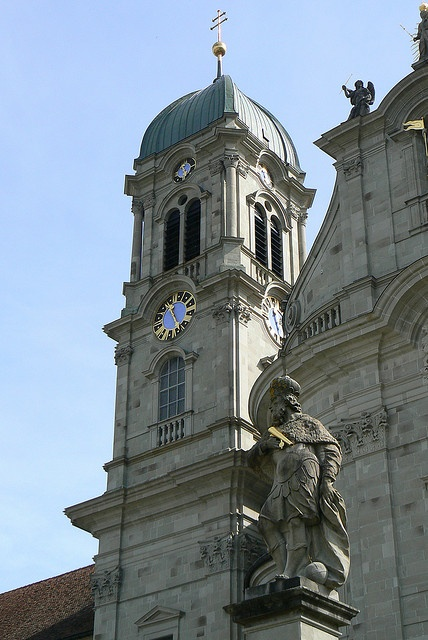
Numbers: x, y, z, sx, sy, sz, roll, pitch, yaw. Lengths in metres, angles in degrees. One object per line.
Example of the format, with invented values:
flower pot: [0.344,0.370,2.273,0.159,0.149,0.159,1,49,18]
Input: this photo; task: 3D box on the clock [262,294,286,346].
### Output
clock: [2.014,0.076,44.783,0.104,1.421,1.422,-21,-70,21]

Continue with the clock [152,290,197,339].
clock: [-1.267,-0.111,46.329,1.447,1.445,0.121,-38,-59,17]

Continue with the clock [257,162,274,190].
clock: [1.982,-5.539,50.874,0.150,1.077,0.891,-30,-81,21]

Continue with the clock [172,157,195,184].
clock: [-1.065,-5.699,50.588,0.980,0.980,0.116,-29,-53,37]

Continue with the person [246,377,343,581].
person: [1.161,2.155,18.457,1.209,3.290,0.813,-7,-31,10]

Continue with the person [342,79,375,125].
person: [3.863,-5.862,34.965,0.690,1.549,0.571,-3,-31,2]
